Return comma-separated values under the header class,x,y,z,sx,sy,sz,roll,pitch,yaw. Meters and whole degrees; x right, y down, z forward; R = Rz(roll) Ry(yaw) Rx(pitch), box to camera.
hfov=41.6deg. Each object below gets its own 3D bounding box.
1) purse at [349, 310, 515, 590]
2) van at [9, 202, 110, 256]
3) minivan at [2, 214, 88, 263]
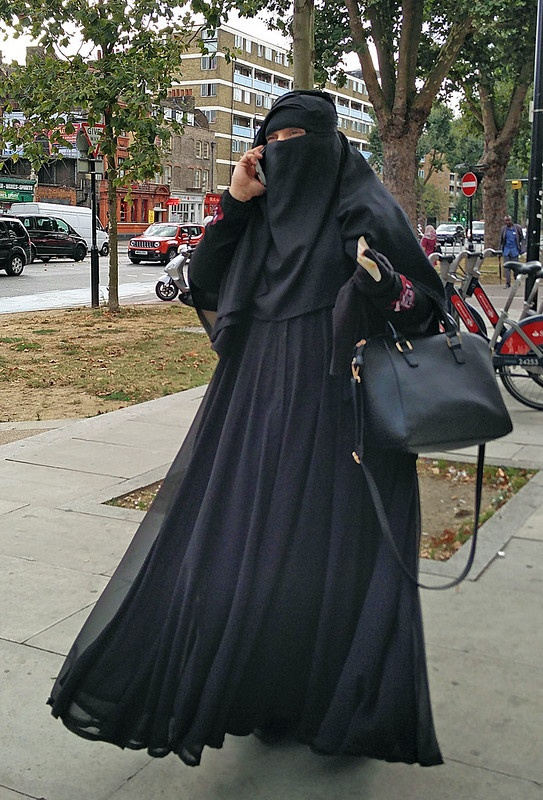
class,x,y,z,sx,sy,sz,roll,pitch,yaw
purse,0.375,0.118,1.702,0.392,0.647,0.237,-4,9,-37
van,-11.538,-9.386,40.738,2.787,3.048,6.046,-9,12,10
minivan,-9.970,-7.429,32.739,1.826,1.603,3.416,12,18,42
